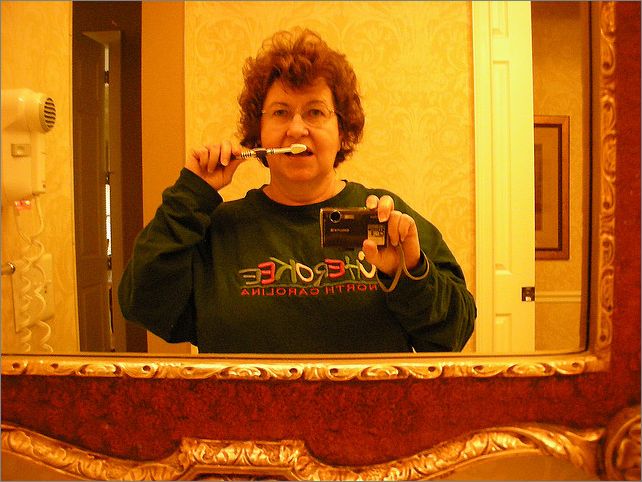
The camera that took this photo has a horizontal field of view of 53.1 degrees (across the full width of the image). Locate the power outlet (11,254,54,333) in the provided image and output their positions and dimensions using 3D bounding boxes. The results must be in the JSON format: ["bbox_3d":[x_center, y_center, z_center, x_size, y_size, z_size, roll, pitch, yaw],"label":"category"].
[{"bbox_3d":[-0.471,0.097,1.062,0.077,0.161,0.012,-11,-14,2],"label":"power outlet"}]
